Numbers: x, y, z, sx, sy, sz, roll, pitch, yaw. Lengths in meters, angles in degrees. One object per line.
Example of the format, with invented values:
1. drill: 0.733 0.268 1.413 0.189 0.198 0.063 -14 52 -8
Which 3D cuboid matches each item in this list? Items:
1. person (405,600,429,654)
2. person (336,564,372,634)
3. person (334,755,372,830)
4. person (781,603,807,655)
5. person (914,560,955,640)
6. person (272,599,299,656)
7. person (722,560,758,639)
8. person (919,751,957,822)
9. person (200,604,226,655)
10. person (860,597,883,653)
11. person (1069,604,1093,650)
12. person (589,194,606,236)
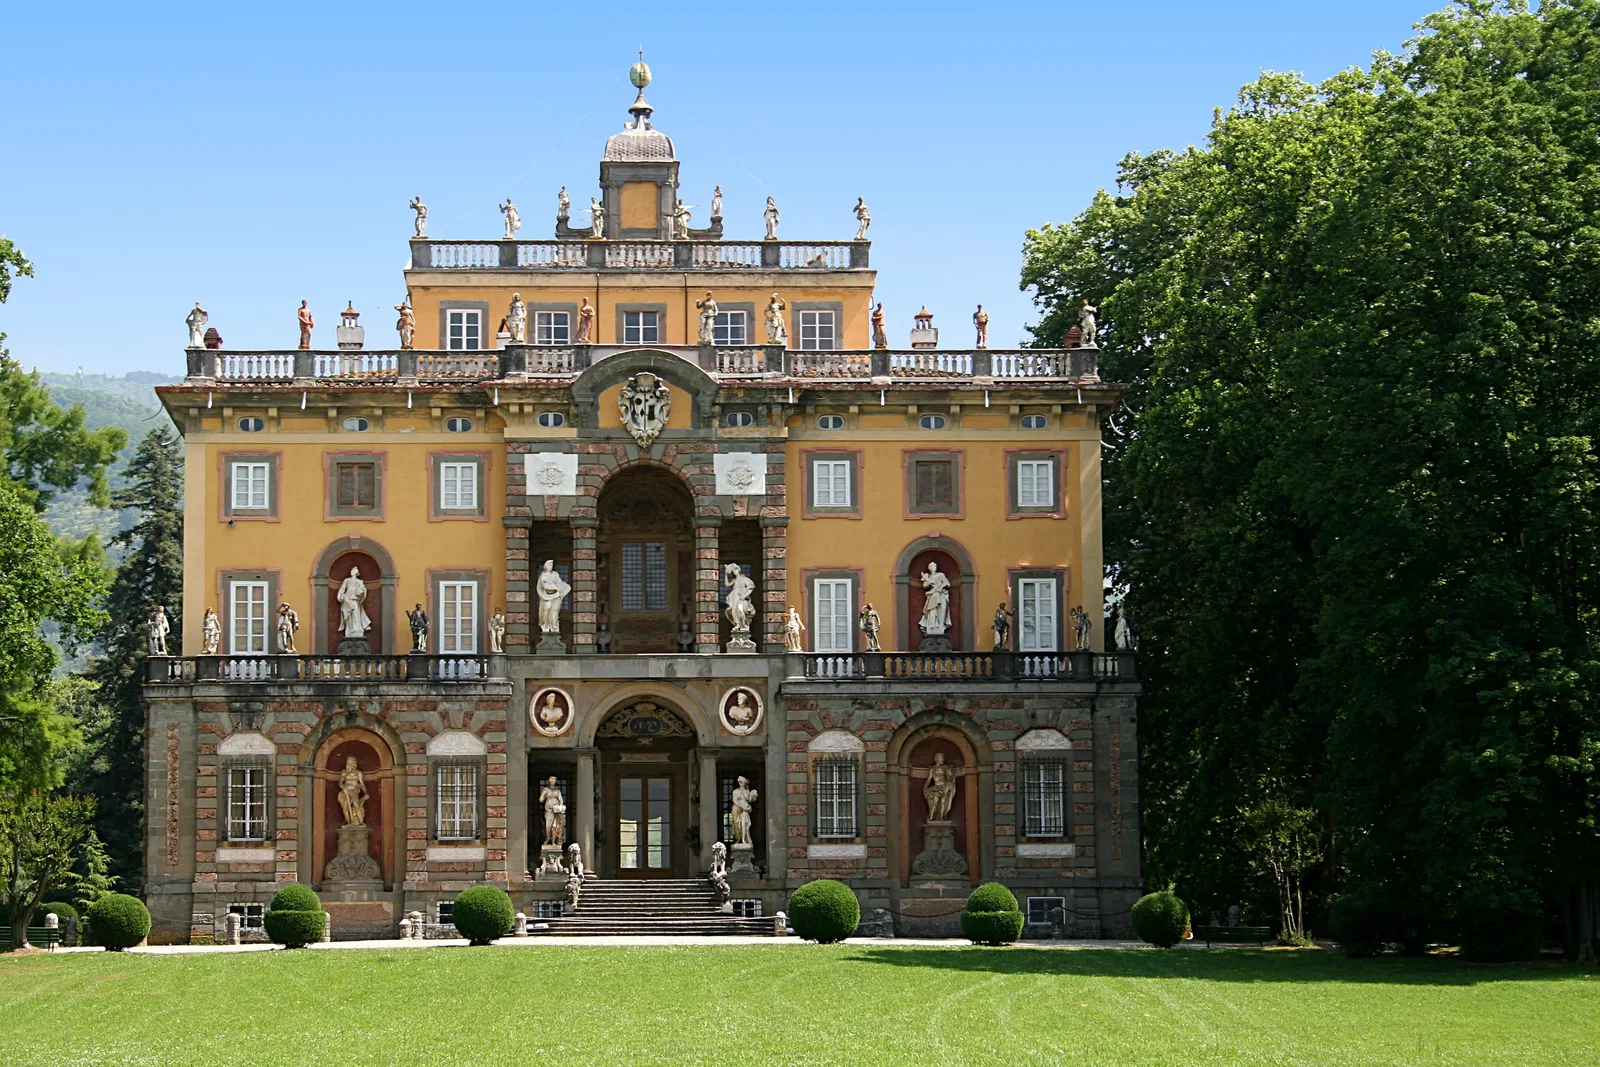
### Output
1. person: -10.725 2.595 85.510 0.653 1.522 0.907 2 -11 -15
2. person: -12.541 1.896 85.682 0.864 2.183 0.641 10 -15 -44
3. person: -12.477 7.183 84.628 0.869 2.043 0.463 0 -11 -6
4. person: -0.176 2.635 85.713 0.622 1.537 1.072 -1 -11 0
5. person: 3.790 1.832 86.160 0.883 2.346 0.664 0 -11 -4
6. person: -14.456 2.567 85.470 0.649 1.433 0.574 1 -11 -10
7. person: -1.782 1.869 86.398 0.734 2.384 1.315 0 -11 -6
8. person: 3.854 7.086 85.109 0.976 1.956 0.474 -1 -11 2
9. person: -16.506 2.710 85.175 0.485 1.412 0.806 1 -11 -11
10. person: 1.947 2.628 85.787 0.629 1.597 1.109 -1 -11 0
11. person: 7.934 2.625 85.910 0.604 1.495 0.967 -1 -11 1
12. person: -6.126 -9.620 92.124 0.341 1.007 0.544 0 -11 -3
